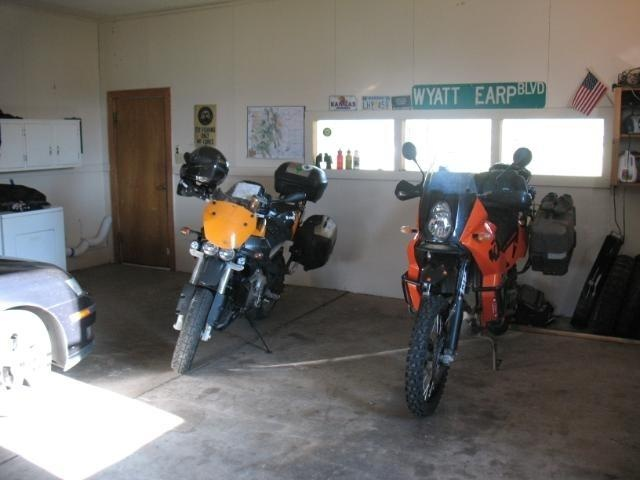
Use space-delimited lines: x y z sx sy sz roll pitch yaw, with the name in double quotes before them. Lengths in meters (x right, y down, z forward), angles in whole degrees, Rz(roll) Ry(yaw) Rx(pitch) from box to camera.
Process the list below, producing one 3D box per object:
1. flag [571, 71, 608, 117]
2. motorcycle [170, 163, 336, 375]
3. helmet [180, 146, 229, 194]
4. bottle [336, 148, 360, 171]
"flag" 2.591 -1.403 4.708 0.377 0.443 0.045 13 19 41
"motorcycle" -0.617 0.129 4.377 0.956 1.421 2.265 15 19 14
"helmet" -0.942 -0.596 3.962 0.415 0.375 0.338 -2 3 -42
"bottle" 0.329 -0.941 5.766 0.278 0.267 0.091 0 -3 24
